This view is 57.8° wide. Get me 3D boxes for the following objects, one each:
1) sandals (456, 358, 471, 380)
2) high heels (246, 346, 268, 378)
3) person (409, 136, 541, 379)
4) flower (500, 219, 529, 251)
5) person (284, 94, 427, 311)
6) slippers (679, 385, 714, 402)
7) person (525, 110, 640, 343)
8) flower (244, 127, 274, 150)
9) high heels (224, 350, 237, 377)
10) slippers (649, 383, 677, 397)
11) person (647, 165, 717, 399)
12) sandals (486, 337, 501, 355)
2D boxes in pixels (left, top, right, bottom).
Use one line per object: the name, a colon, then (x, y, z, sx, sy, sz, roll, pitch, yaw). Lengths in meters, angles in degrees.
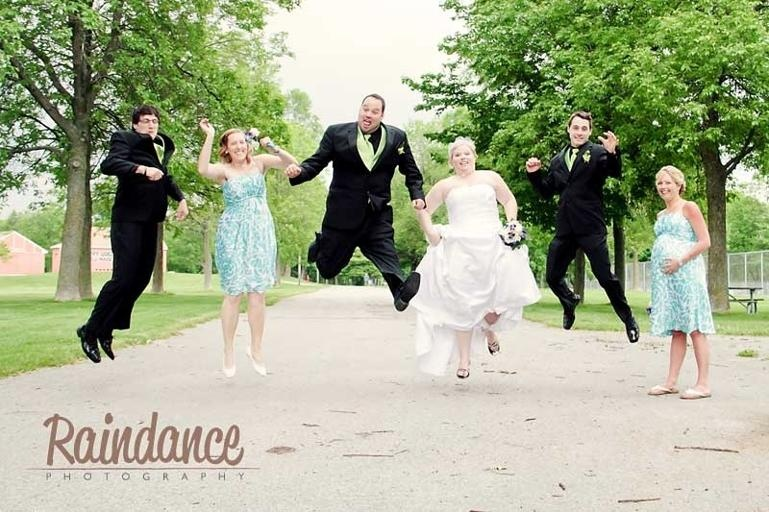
sandals: (1.071, 1.496, 9.435, 0.148, 0.108, 0.401, 3, 10, 8)
high heels: (-1.756, 1.448, 9.785, 0.164, 0.544, 0.197, -27, -7, -28)
person: (1.173, -0.017, 9.493, 1.558, 3.147, 0.750, 1, 6, 2)
flower: (1.783, -0.294, 9.573, 0.457, 0.392, 0.225, -3, 7, -37)
person: (-0.300, -0.659, 9.271, 1.654, 2.925, 0.889, 1, 6, 3)
slippers: (3.883, 1.711, 8.683, 0.346, 0.105, 0.166, 3, -7, -12)
person: (2.755, -0.417, 9.757, 1.531, 3.247, 1.024, 2, 6, 9)
flower: (-1.732, -1.577, 9.467, 0.369, 0.253, 1.049, -16, 18, -10)
high heels: (-2.123, 1.478, 9.517, 0.145, 0.356, 0.239, 0, 6, -14)
slippers: (3.533, 1.710, 8.873, 0.383, 0.075, 0.134, 1, -4, -12)
person: (3.827, 0.310, 8.967, 0.766, 2.909, 1.073, 0, 6, -14)
sandals: (1.556, 1.294, 9.965, 0.215, 0.394, 0.104, -1, -9, 1)
